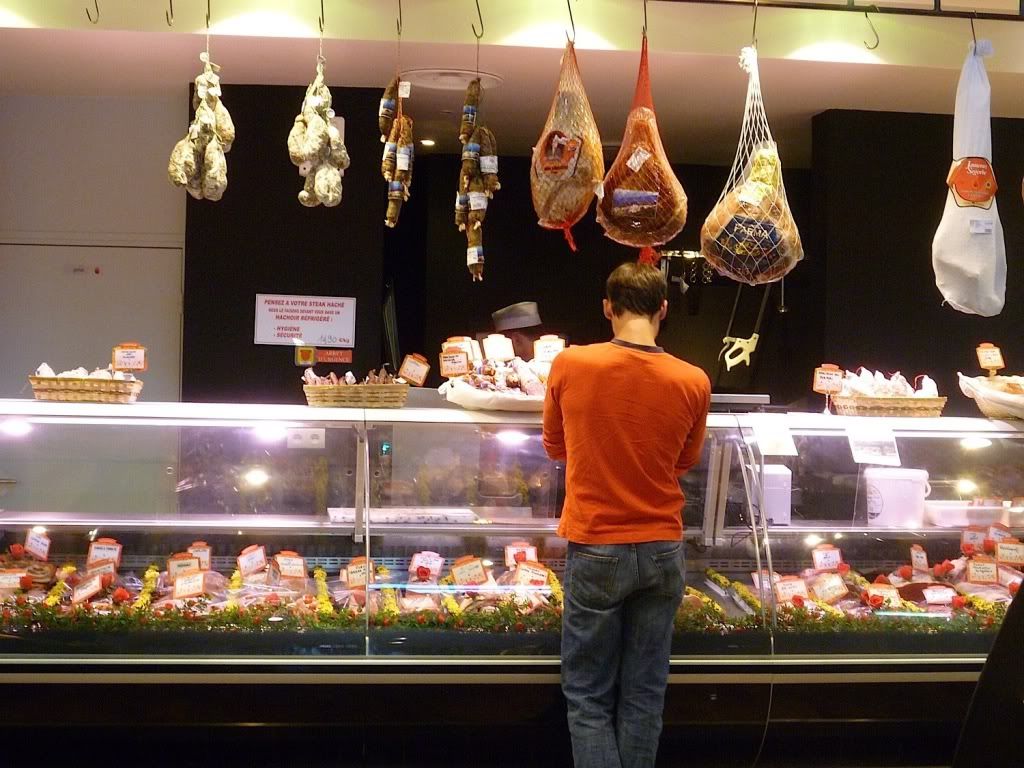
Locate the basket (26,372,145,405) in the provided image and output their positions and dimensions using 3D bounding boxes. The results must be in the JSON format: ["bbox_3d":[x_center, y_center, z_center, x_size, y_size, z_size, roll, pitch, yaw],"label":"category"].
[{"bbox_3d":[-1.759,0.025,3.813,0.405,0.118,0.175,-1,9,-16],"label":"basket"}]

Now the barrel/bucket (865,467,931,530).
[{"bbox_3d":[1.672,0.499,4.046,0.254,0.212,0.289,2,-6,-20],"label":"barrel/bucket"}]

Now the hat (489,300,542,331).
[{"bbox_3d":[0.036,-0.395,5.512,0.220,0.125,0.215,-16,8,-27],"label":"hat"}]
